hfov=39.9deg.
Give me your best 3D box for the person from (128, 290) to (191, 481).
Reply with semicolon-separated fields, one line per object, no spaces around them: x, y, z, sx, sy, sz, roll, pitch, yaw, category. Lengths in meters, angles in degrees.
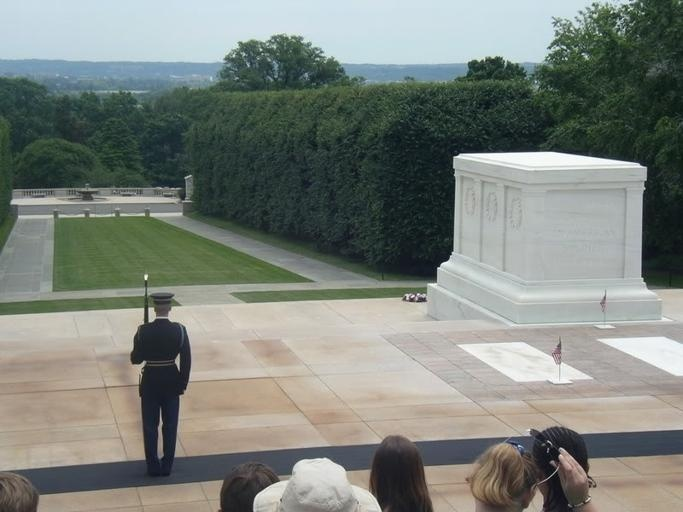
-2.617;1.808;13.451;0.701;2.528;0.806;9;16;31;person
